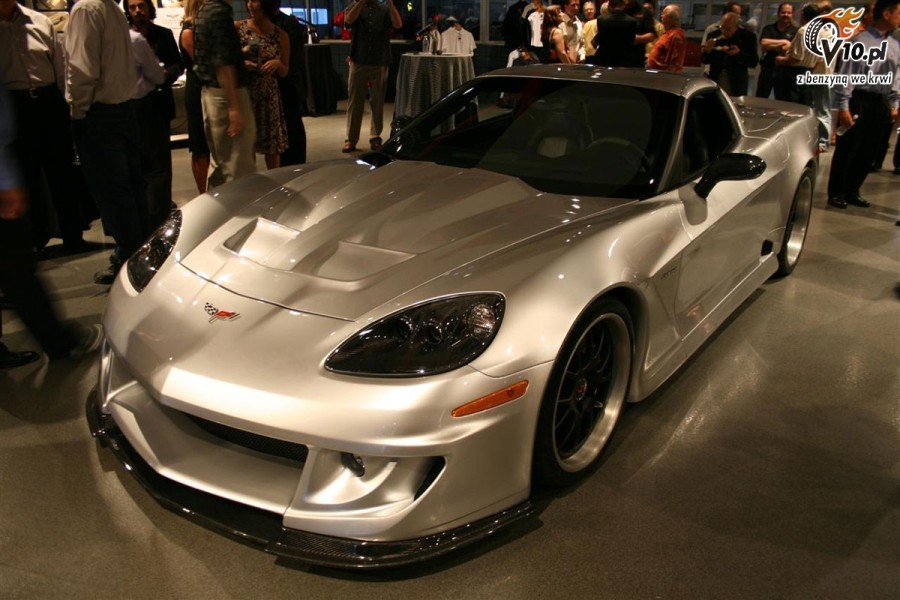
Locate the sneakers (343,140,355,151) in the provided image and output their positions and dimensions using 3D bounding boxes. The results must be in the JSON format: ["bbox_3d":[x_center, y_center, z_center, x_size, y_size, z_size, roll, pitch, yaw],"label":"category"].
[{"bbox_3d":[-1.361,-2.114,8.688,0.116,0.116,0.236,-2,15,3],"label":"sneakers"}]

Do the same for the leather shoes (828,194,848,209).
[{"bbox_3d":[4.200,-1.062,6.841,0.071,0.090,0.198,-20,37,-24],"label":"leather shoes"}]

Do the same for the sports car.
[{"bbox_3d":[-0.133,-0.166,3.145,3.078,1.731,1.838,-11,26,-32],"label":"sports car"}]
